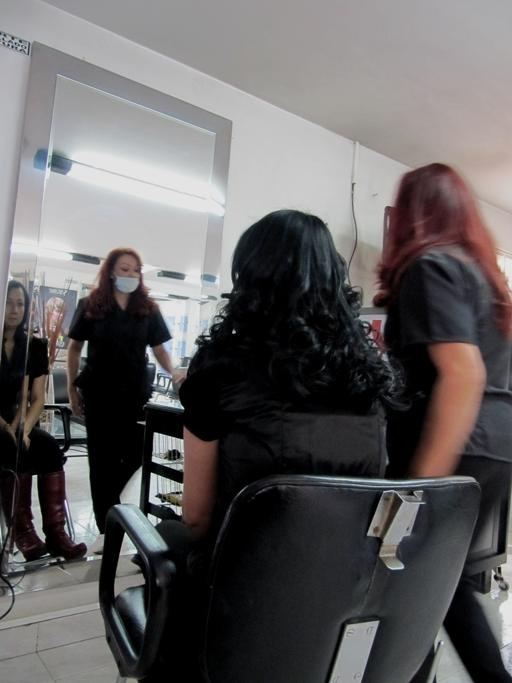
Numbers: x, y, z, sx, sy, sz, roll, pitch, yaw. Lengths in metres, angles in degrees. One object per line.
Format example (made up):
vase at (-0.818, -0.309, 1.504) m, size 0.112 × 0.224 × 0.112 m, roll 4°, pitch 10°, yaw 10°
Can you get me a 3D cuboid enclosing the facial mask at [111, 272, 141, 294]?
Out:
facial mask at (-0.567, -0.266, 2.314) m, size 0.080 × 0.060 × 0.086 m, roll 3°, pitch 4°, yaw 45°
